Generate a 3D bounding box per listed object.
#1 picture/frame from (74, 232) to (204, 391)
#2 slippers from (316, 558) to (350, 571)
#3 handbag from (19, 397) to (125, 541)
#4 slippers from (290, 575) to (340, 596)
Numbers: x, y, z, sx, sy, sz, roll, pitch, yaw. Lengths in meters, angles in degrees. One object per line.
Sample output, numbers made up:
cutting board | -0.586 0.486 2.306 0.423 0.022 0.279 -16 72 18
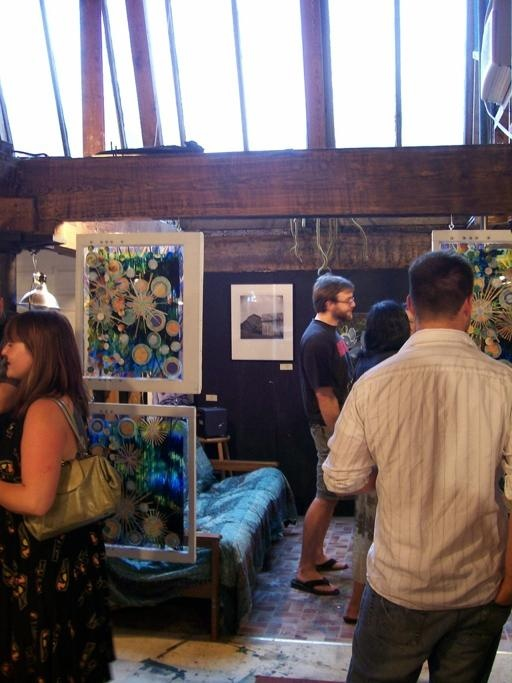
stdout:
picture/frame | -0.499 -0.129 2.861 0.656 0.835 0.078 0 -2 13
slippers | 0.498 1.455 4.249 0.198 0.059 0.079 -2 7 -2
handbag | -0.535 0.354 1.829 0.247 0.369 0.129 -12 32 -21
slippers | 0.352 1.434 3.865 0.198 0.063 0.109 0 1 27
